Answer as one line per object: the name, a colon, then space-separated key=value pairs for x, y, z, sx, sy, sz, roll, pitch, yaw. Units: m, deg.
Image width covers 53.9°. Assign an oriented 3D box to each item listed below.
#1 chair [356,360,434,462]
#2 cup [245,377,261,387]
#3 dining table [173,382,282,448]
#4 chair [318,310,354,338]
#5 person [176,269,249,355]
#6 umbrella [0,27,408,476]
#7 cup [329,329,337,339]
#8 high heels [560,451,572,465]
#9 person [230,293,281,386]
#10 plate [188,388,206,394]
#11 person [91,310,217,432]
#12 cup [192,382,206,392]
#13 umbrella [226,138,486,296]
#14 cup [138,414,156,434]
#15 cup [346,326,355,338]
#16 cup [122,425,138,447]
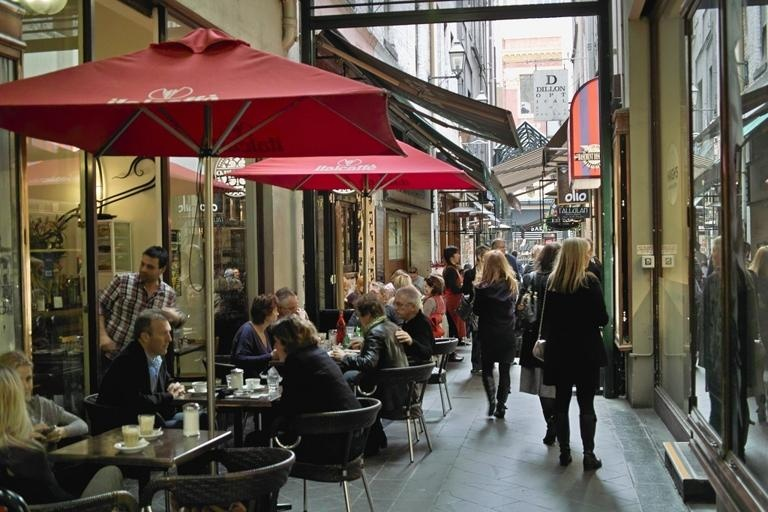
chair: x=0.208 y=1.588 z=8.592 sx=0.883 sy=1.337 sz=1.122 roll=1 pitch=-3 yaw=18
cup: x=-1.258 y=1.201 z=7.346 sx=0.111 sy=0.056 sz=0.114 roll=1 pitch=-5 yaw=0
dining table: x=-1.317 y=1.416 z=7.268 sx=0.819 sy=0.559 sz=0.870 roll=0 pitch=-2 yaw=10
chair: x=-0.744 y=0.998 z=11.600 sx=0.364 sy=0.579 sz=0.408 roll=4 pitch=4 yaw=5
person: x=-2.234 y=0.717 z=9.679 sx=0.638 sy=1.244 sz=1.225 roll=2 pitch=6 yaw=5
umbrella: x=-1.420 y=-0.269 z=6.107 sx=2.857 sy=3.186 sz=1.279 roll=-1 pitch=3 yaw=2
cup: x=-0.633 y=0.986 z=9.587 sx=0.093 sy=0.152 sz=0.090 roll=0 pitch=-3 yaw=0
high heels: x=1.942 y=2.170 z=8.154 sx=0.080 sy=0.163 sz=0.164 roll=1 pitch=6 yaw=15
person: x=-1.382 y=1.051 z=8.498 sx=0.546 sy=1.197 sz=0.697 roll=3 pitch=-4 yaw=13
plate: x=-1.788 y=1.298 z=7.281 sx=0.109 sy=0.018 sz=0.109 roll=2 pitch=1 yaw=-26
person: x=-2.041 y=1.036 z=6.711 sx=0.909 sy=1.128 sz=0.730 roll=9 pitch=8 yaw=33
cup: x=-1.767 y=1.262 z=7.314 sx=0.119 sy=0.077 sz=0.116 roll=-1 pitch=-3 yaw=0
umbrella: x=-0.299 y=-0.769 z=9.817 sx=2.133 sy=1.511 sz=2.320 roll=-1 pitch=1 yaw=15
cup: x=-1.793 y=1.287 z=5.810 sx=0.121 sy=0.148 sz=0.123 roll=-1 pitch=-6 yaw=0
cup: x=-0.468 y=1.051 z=10.579 sx=0.097 sy=0.123 sz=0.101 roll=-1 pitch=-2 yaw=0
cup: x=-1.837 y=1.299 z=5.513 sx=0.123 sy=0.154 sz=0.129 roll=-1 pitch=-1 yaw=0
